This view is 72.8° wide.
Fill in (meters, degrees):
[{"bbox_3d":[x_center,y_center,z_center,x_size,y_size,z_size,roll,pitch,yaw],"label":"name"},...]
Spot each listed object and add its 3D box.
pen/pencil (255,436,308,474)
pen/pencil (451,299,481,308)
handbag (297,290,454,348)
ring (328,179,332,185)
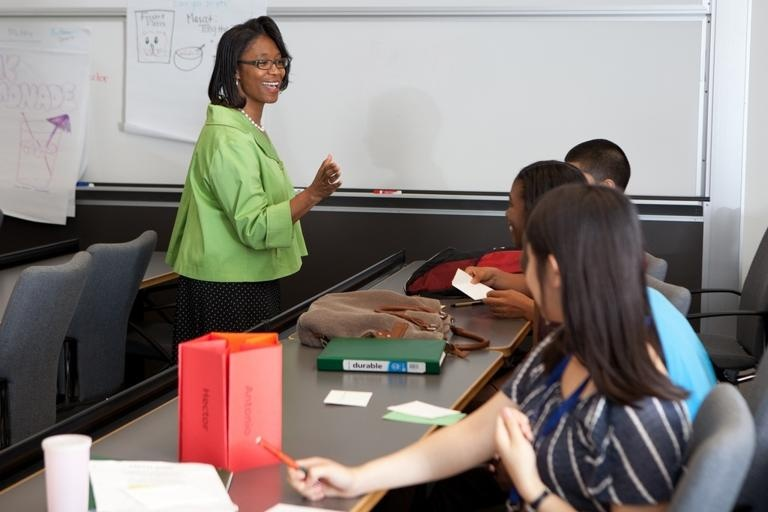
[{"bbox_3d":[-0.224,0.433,1.122,0.099,0.016,0.023,35,26,1],"label":"pen/pencil"},{"bbox_3d":[0.356,0.209,2.259,0.170,0.019,0.019,-5,-24,-12],"label":"pen/pencil"},{"bbox_3d":[-0.032,0.247,2.049,0.569,0.176,0.601,-5,0,-8],"label":"handbag"},{"bbox_3d":[-0.227,-0.305,2.171,0.019,0.020,0.006,-2,-16,-18],"label":"ring"}]
